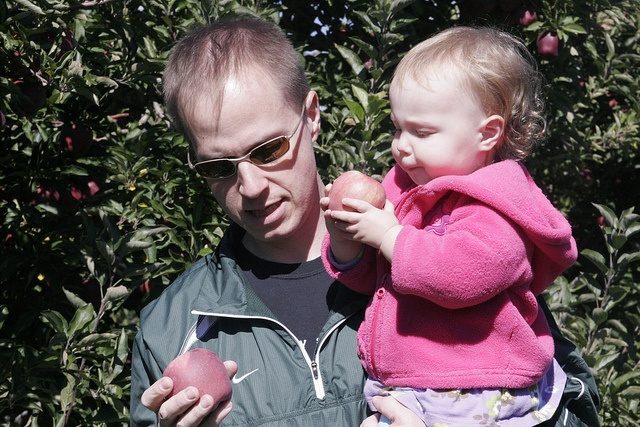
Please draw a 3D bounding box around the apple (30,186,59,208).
[{"bbox_3d":[-1.620,-0.091,3.455,0.102,0.118,0.106,1,-10,8],"label":"apple"}]

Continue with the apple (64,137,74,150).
[{"bbox_3d":[-1.505,-0.418,3.520,0.037,0.067,0.026,-5,7,-22],"label":"apple"}]

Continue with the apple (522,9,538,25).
[{"bbox_3d":[1.478,-1.390,4.163,0.080,0.122,0.088,10,-7,-3],"label":"apple"}]

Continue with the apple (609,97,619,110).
[{"bbox_3d":[2.388,-0.904,4.789,0.066,0.066,0.061,-2,23,35],"label":"apple"}]

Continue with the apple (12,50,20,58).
[{"bbox_3d":[-1.649,-0.869,3.183,0.030,0.038,0.017,-25,21,-28],"label":"apple"}]

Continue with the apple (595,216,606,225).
[{"bbox_3d":[2.230,0.059,4.669,0.061,0.085,0.065,0,9,6],"label":"apple"}]

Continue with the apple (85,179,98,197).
[{"bbox_3d":[-1.399,-0.153,3.602,0.075,0.083,0.035,21,-8,19],"label":"apple"}]
